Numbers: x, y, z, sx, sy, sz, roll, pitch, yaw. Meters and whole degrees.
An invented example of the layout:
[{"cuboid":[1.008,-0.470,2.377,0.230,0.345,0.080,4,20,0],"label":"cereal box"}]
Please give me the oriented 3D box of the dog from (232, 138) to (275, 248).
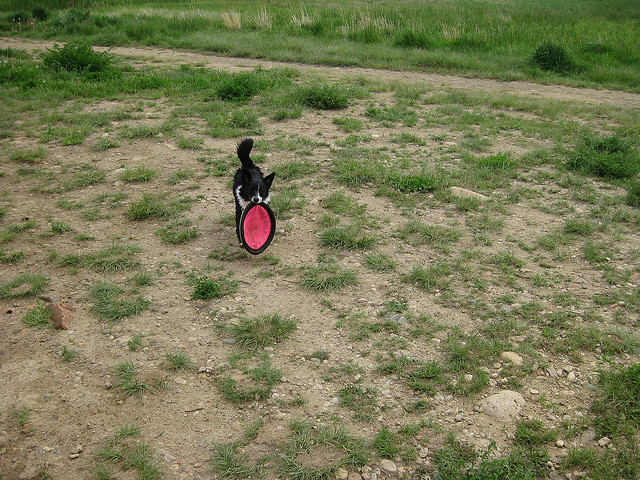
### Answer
[{"cuboid":[-1.103,-0.871,9.859,0.595,1.159,1.902,4,50,-22],"label":"dog"}]
